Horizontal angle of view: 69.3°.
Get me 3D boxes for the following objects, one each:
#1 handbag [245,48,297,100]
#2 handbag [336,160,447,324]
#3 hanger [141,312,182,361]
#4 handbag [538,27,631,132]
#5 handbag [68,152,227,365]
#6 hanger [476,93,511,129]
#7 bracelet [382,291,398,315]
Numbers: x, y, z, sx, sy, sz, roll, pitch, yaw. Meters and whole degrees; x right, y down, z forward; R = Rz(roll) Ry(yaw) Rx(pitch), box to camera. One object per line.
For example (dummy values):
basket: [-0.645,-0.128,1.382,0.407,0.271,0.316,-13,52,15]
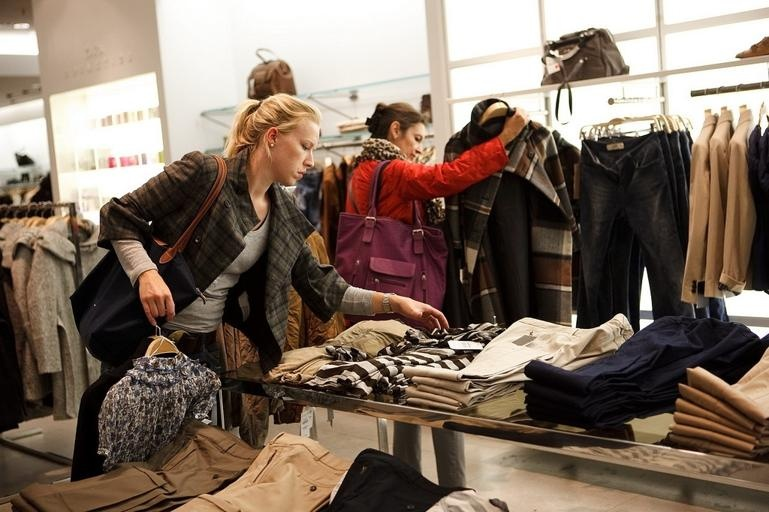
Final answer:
handbag: [-1.122,-1.715,5.452,0.374,0.498,0.297,6,25,33]
handbag: [0.032,-0.078,3.001,0.624,0.781,0.269,9,-4,-19]
hanger: [-0.849,0.306,2.144,0.108,0.167,0.176,2,2,21]
handbag: [1.293,-1.242,3.685,0.341,0.410,0.596,-24,17,-24]
handbag: [-0.970,0.036,2.248,0.673,0.864,0.390,-2,4,-12]
hanger: [0.574,-0.728,2.868,0.175,0.145,0.056,0,4,11]
bracelet: [0.023,0.211,2.413,0.053,0.079,0.078,4,36,15]
